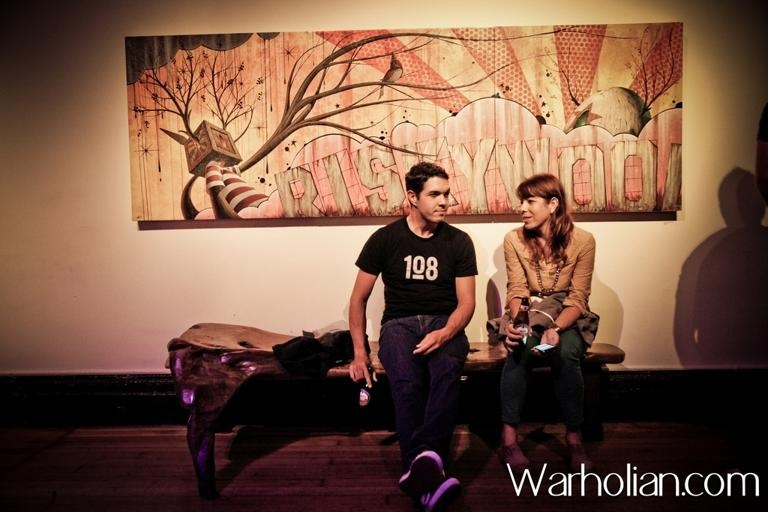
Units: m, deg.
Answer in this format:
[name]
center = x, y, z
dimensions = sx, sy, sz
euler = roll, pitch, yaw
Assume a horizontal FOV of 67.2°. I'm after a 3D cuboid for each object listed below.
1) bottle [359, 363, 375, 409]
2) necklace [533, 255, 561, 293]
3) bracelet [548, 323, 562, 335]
[bottle]
center = -0.111, 0.834, 3.698
dimensions = 0.083, 0.272, 0.206
euler = 6, 5, -16
[necklace]
center = 1.108, 0.129, 3.900
dimensions = 0.190, 0.230, 0.072
euler = -2, -9, 14
[bracelet]
center = 1.101, 0.465, 3.697
dimensions = 0.063, 0.027, 0.062
euler = -22, 54, -26
